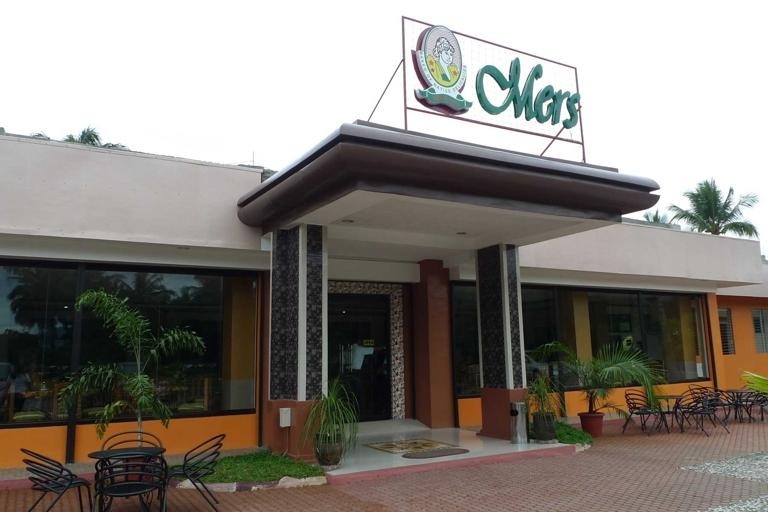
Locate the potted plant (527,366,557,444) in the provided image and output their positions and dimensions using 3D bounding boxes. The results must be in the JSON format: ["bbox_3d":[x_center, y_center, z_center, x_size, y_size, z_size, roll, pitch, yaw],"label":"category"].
[{"bbox_3d":[3.319,3.126,11.664,0.539,1.271,0.643,1,-2,5],"label":"potted plant"}]

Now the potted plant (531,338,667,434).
[{"bbox_3d":[4.941,3.198,13.170,2.699,1.980,2.881,-1,-6,-24],"label":"potted plant"}]

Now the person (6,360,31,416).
[{"bbox_3d":[-6.458,2.340,9.825,0.465,0.834,0.846,6,-9,-40],"label":"person"}]

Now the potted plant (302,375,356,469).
[{"bbox_3d":[-0.898,2.967,10.174,0.900,1.417,0.888,-3,-9,-10],"label":"potted plant"}]

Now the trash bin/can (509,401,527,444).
[{"bbox_3d":[2.801,3.435,11.495,0.344,0.811,0.334,17,-25,-28],"label":"trash bin/can"}]

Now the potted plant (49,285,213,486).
[{"bbox_3d":[-4.363,2.222,9.974,2.182,2.652,2.113,12,-51,-28],"label":"potted plant"}]

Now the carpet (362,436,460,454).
[{"bbox_3d":[0.507,3.797,11.290,1.531,0.099,1.184,2,-2,-21],"label":"carpet"}]
